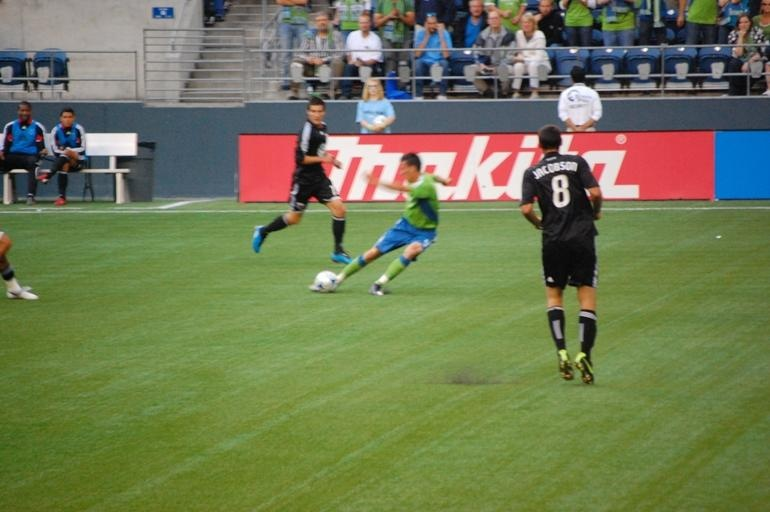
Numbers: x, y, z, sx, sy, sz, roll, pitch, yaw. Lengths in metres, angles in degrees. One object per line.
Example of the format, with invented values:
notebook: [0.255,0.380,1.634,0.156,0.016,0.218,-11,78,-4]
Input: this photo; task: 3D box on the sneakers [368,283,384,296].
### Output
sneakers: [-0.117,0.486,15.405,0.135,0.138,0.235,-1,0,-18]

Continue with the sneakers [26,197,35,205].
sneakers: [-7.792,-1.197,24.474,0.162,0.141,0.385,-1,1,-24]

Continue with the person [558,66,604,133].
person: [3.879,-3.115,22.044,0.802,1.242,1.185,2,7,7]

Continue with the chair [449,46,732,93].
chair: [5.526,-4.187,24.876,4.782,1.030,1.270,2,7,7]

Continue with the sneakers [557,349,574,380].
sneakers: [2.037,1.244,12.490,0.174,0.357,0.184,2,8,8]

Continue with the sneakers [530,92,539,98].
sneakers: [3.411,-3.664,25.396,0.173,0.141,0.190,1,7,5]

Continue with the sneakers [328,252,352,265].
sneakers: [-0.703,0.058,16.776,0.380,0.117,0.154,14,50,22]

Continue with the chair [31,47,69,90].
chair: [-8.480,-4.731,28.121,0.868,1.063,2.276,-1,7,-16]

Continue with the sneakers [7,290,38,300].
sneakers: [-4.917,0.527,15.031,0.465,0.142,0.147,0,13,-7]

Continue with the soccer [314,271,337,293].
soccer: [-0.854,0.379,15.410,0.366,0.233,0.249,0,-29,-21]

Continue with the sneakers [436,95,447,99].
sneakers: [1.312,-3.670,25.667,0.178,0.060,0.212,0,3,1]

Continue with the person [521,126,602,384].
person: [1.980,-0.017,12.584,0.924,2.875,0.694,3,8,12]

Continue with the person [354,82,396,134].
person: [-0.182,-3.010,22.238,0.695,1.020,0.863,0,7,-5]

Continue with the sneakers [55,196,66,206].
sneakers: [-7.187,-1.167,24.535,0.176,0.154,0.419,-1,-4,-9]

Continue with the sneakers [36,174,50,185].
sneakers: [-7.300,-1.641,23.703,0.230,0.185,0.674,-1,7,-17]

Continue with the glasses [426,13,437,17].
glasses: [1.072,-5.532,25.425,0.248,0.081,0.304,3,5,4]
